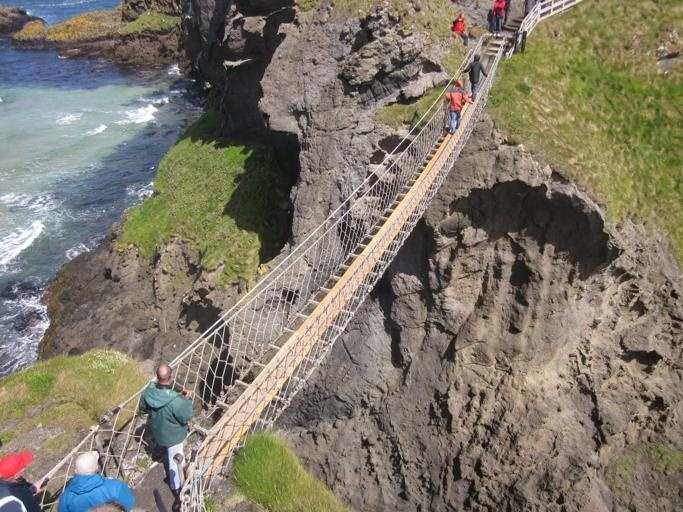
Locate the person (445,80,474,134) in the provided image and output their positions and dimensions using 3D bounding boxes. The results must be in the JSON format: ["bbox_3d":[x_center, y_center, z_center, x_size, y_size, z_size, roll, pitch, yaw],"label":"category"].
[{"bbox_3d":[3.835,-4.982,20.022,0.735,1.595,1.236,15,37,13],"label":"person"}]
